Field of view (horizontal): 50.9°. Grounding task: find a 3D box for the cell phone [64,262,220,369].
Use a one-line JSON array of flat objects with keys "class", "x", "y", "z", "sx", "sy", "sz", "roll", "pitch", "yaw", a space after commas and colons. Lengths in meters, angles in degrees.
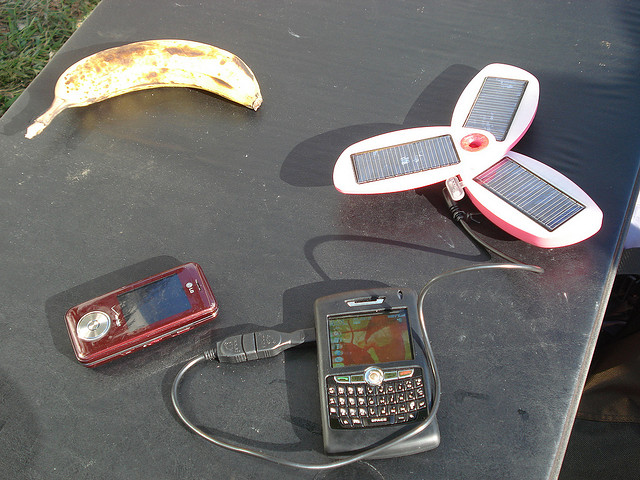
[{"class": "cell phone", "x": -0.349, "y": 0.154, "z": 1.386, "sx": 0.284, "sy": 0.086, "sz": 0.171, "roll": -23, "pitch": 72, "yaw": -4}]
